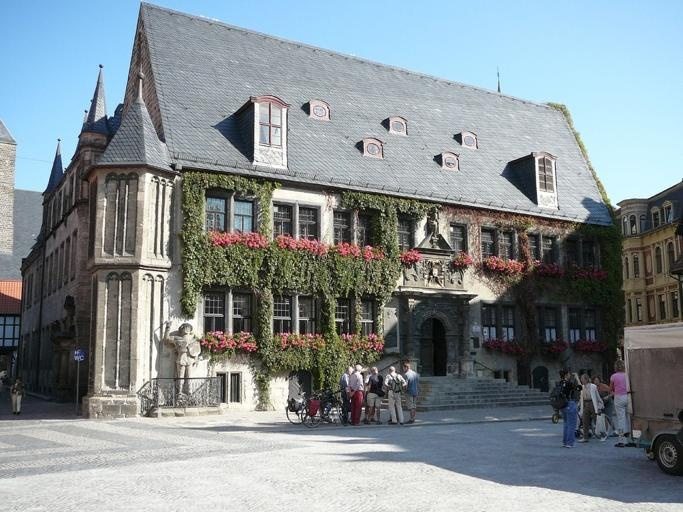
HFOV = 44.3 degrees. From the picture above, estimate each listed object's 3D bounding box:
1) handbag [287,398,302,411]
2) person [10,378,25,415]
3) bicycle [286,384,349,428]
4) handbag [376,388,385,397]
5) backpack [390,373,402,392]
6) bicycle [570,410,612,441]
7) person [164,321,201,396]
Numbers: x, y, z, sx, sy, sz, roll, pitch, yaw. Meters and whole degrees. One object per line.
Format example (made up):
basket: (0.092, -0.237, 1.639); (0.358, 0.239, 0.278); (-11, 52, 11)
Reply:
handbag: (-1.599, 5.208, 29.199); (0.392, 0.468, 0.502); (1, 5, 30)
person: (-13.811, 6.005, 35.633); (0.429, 1.563, 2.839); (4, -13, -20)
bicycle: (-0.911, 5.295, 29.044); (2.540, 1.606, 1.192); (0, -13, -10)
handbag: (1.364, 4.816, 29.308); (0.257, 0.190, 0.344); (-1, -13, 2)
backpack: (1.863, 4.467, 29.237); (0.474, 0.564, 0.301); (7, -19, -25)
bicycle: (7.834, 5.344, 26.243); (1.175, 1.175, 0.900); (-3, -14, 8)
person: (-6.417, 4.167, 33.529); (1.488, 2.877, 0.844); (4, -13, -19)
